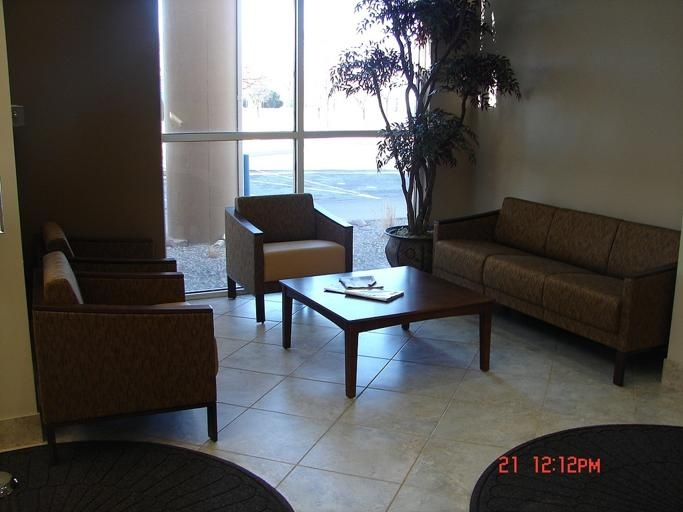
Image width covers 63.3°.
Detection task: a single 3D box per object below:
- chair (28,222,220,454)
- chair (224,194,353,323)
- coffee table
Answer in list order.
[{"bbox_3d":[-1.214,-0.042,3.323,1.023,1.275,1.762,-4,16,-21],"label":"chair"},{"bbox_3d":[-0.593,-0.130,5.588,1.184,1.361,1.223,-4,9,-27],"label":"chair"},{"bbox_3d":[0.224,0.315,4.160,1.048,0.489,1.049,-7,14,-27],"label":"coffee table"}]
